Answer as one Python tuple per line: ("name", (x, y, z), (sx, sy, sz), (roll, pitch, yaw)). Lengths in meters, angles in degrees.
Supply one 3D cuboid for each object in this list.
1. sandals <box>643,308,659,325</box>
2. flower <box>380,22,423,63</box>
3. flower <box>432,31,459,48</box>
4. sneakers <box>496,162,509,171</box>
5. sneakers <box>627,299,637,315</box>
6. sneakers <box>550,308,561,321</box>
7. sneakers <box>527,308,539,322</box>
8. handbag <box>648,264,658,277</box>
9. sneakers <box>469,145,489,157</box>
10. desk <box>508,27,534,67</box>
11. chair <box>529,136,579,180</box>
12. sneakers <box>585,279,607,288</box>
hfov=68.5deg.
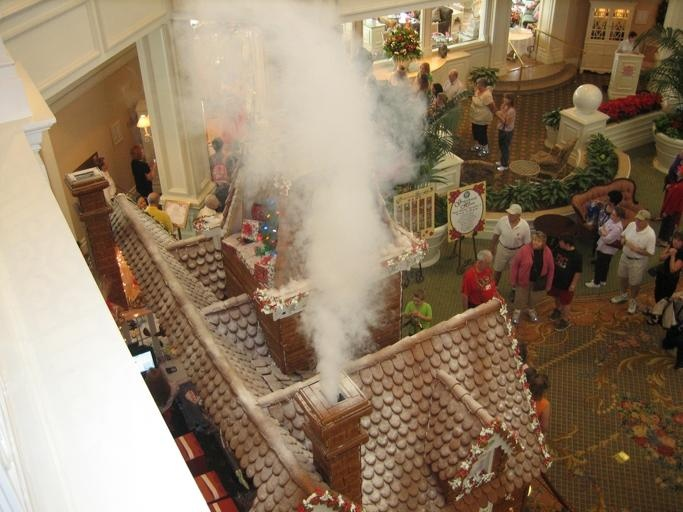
("sandals", (5.359, 1.045, 8.715), (0.091, 0.315, 0.204), (9, -1, 17))
("flower", (1.649, -6.168, 14.519), (1.042, 1.149, 1.084), (20, 39, 28))
("flower", (3.365, -7.102, 16.436), (1.031, 0.466, 0.290), (-15, 31, -20))
("sneakers", (3.939, -2.229, 12.517), (0.127, 0.188, 0.416), (-8, 32, -21))
("sneakers", (5.254, 0.887, 9.096), (0.113, 0.150, 0.329), (7, 31, 27))
("sneakers", (3.857, 1.041, 9.089), (0.114, 0.110, 0.246), (16, 39, 34))
("sneakers", (3.449, 1.061, 9.062), (0.117, 0.110, 0.272), (-8, 32, -8))
("handbag", (5.537, 0.247, 8.947), (0.129, 0.193, 0.049), (-35, 50, 14))
("sneakers", (3.610, -2.757, 13.105), (0.266, 0.187, 0.404), (19, 12, 25))
("desk", (6.362, -7.397, 17.890), (1.249, 0.728, 1.354), (3, 53, 8))
("chair", (5.249, -2.402, 12.366), (0.689, 1.018, 0.703), (34, 73, 21))
("sneakers", (4.840, 0.539, 9.654), (0.384, 0.181, 0.160), (-2, 48, 11))
